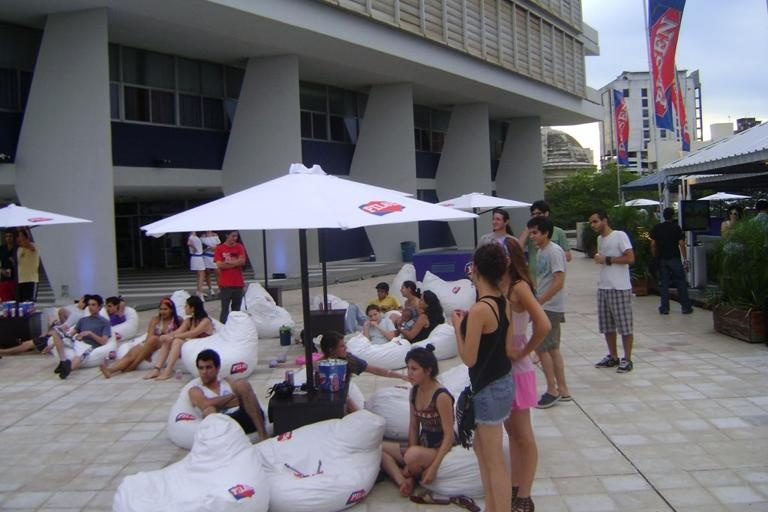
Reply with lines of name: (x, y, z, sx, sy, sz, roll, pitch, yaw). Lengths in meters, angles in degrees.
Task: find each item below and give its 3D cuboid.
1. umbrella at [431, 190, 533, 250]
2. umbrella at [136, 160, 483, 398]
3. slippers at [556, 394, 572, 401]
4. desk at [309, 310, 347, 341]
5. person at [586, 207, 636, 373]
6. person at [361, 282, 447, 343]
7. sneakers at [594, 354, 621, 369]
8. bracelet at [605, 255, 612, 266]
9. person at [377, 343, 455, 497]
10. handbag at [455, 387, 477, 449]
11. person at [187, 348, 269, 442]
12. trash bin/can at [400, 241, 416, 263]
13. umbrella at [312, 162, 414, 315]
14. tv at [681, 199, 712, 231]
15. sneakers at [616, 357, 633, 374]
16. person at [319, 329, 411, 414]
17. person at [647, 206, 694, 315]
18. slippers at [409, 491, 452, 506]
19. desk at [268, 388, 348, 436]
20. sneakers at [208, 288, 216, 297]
umbrella: (2.270, -0.761, 13.889, 1.388, 1.019, 1.347, 1, -6, -7)
umbrella: (-0.960, -0.065, 7.079, 2.674, 1.995, 2.792, -2, 0, -6)
slippers: (2.463, 1.942, 7.630, 0.144, 0.064, 0.081, -1, 4, -9)
desk: (-1.111, 1.290, 10.999, 0.833, 0.884, 0.632, 0, 1, 1)
person: (3.508, 0.547, 8.607, 0.583, 2.479, 0.844, -2, 4, 23)
person: (0.329, 1.008, 10.008, 1.231, 0.974, 0.852, -3, 3, -5)
sneakers: (3.544, 1.686, 8.937, 0.486, 0.240, 0.174, -1, 2, 0)
bracelet: (3.373, 0.081, 8.486, 0.090, 0.118, 0.125, 0, -13, 4)
person: (0.313, 1.767, 6.122, 0.929, 1.506, 0.888, -5, -9, 42)
handbag: (0.782, 1.562, 5.356, 0.172, 0.664, 0.249, -3, 3, 8)
person: (-1.844, 1.706, 7.179, 0.765, 1.253, 1.152, -9, -1, -40)
trash bin/can: (1.017, -0.184, 24.157, 0.864, 1.157, 0.777, -1, -3, 3)
umbrella: (-1.078, 0.035, 10.125, 2.208, 2.291, 2.259, -3, -8, -27)
tv: (7.552, -0.985, 13.640, 0.787, 0.836, 0.286, -2, 5, -12)
sneakers: (3.679, 1.691, 8.586, 0.120, 0.167, 0.343, -5, -6, 33)
person: (-0.313, 1.406, 7.184, 1.615, 0.625, 1.262, 20, -6, -37)
person: (6.395, 0.080, 12.471, 0.754, 2.298, 1.225, -1, 4, 28)
slippers: (0.469, 2.514, 5.791, 0.301, 0.082, 0.158, 1, 0, 6)
desk: (-0.887, 1.770, 6.377, 0.715, 0.735, 0.529, -1, 0, -2)
sneakers: (-5.254, 1.135, 17.110, 0.190, 0.267, 0.629, -2, -3, -20)
